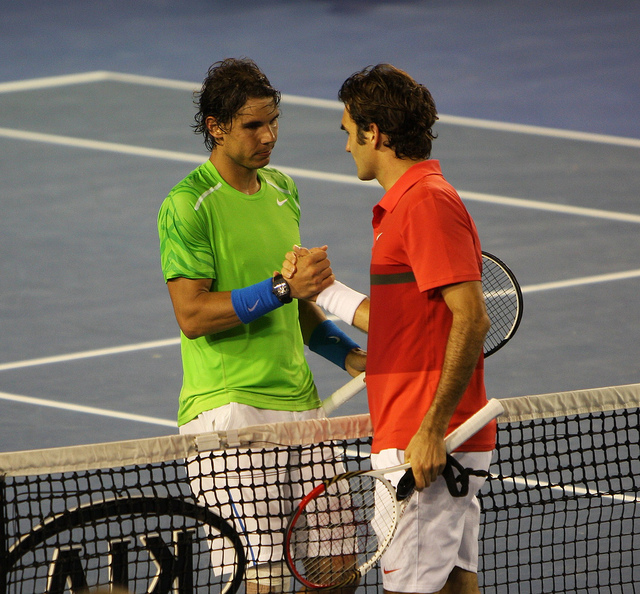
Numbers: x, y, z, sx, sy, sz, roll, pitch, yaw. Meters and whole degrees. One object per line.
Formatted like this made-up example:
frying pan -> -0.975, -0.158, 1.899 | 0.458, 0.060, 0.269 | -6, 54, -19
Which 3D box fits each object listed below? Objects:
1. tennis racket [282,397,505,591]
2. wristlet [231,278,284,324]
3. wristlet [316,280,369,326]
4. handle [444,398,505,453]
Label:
tennis racket -> 0.427, 1.244, 10.198 | 1.311, 0.482, 0.103 | -29, 1, 3
wristlet -> -0.416, 0.023, 10.633 | 0.415, 0.339, 0.262 | -19, 0, -3
wristlet -> 0.157, 0.041, 10.704 | 0.327, 0.239, 0.138 | 27, -15, 11
handle -> 0.949, 0.791, 9.897 | 0.283, 0.343, 0.262 | 3, 8, -42
